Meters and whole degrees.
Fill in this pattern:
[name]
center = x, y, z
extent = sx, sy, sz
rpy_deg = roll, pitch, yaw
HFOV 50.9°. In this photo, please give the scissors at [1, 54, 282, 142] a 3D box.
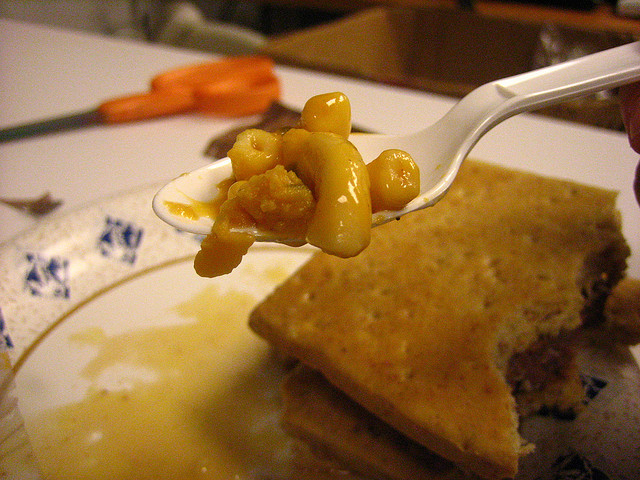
[scissors]
center = -0.493, -0.402, 1.955
extent = 1.013, 0.119, 0.207
rpy_deg = -9, 48, 6
